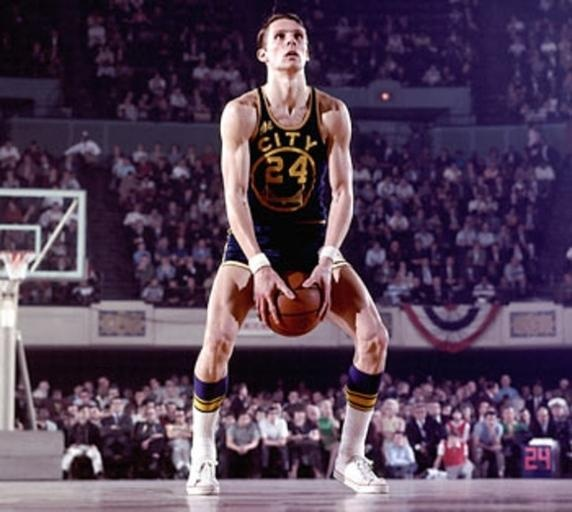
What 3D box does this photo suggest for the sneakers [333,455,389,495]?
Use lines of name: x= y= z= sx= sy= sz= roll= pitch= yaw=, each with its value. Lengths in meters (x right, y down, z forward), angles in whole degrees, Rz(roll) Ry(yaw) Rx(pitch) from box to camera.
sneakers: x=0.841 y=2.511 z=15.245 sx=0.262 sy=0.296 sz=0.650 roll=8 pitch=-7 yaw=-31
